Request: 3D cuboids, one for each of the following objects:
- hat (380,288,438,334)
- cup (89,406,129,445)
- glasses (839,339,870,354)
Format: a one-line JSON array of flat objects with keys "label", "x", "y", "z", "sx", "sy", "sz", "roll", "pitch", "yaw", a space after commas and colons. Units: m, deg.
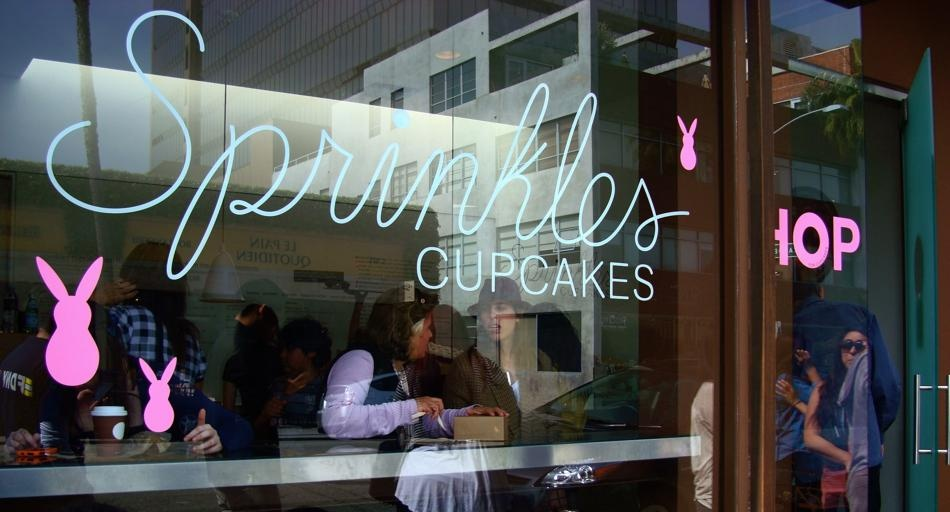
[{"label": "hat", "x": -0.286, "y": 0.236, "z": 4.061, "sx": 0.248, "sy": 0.186, "sz": 0.069, "roll": 3, "pitch": -11, "yaw": -8}, {"label": "cup", "x": -1.575, "y": 0.732, "z": 3.829, "sx": 0.153, "sy": 0.144, "sz": 0.149, "roll": 1, "pitch": -7, "yaw": 0}, {"label": "glasses", "x": 1.994, "y": 0.481, "z": 4.623, "sx": 0.100, "sy": 0.036, "sz": 0.101, "roll": 2, "pitch": -15, "yaw": -4}]
